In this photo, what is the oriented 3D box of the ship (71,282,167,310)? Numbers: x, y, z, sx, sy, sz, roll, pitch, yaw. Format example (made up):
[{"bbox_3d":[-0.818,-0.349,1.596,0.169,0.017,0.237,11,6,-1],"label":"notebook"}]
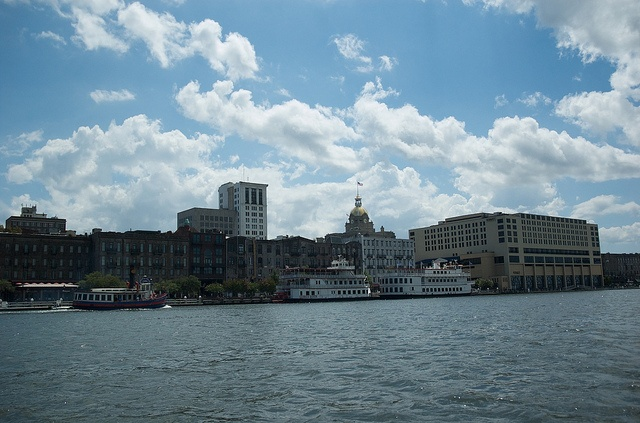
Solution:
[{"bbox_3d":[-46.346,19.622,123.818,20.222,6.743,6.718,3,1,-16],"label":"ship"}]

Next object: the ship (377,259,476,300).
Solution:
[{"bbox_3d":[35.928,22.701,172.279,33.382,12.567,11.445,0,-3,-25],"label":"ship"}]

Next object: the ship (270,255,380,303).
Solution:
[{"bbox_3d":[0.796,20.058,156.099,32.290,11.655,10.289,4,-2,-33],"label":"ship"}]
